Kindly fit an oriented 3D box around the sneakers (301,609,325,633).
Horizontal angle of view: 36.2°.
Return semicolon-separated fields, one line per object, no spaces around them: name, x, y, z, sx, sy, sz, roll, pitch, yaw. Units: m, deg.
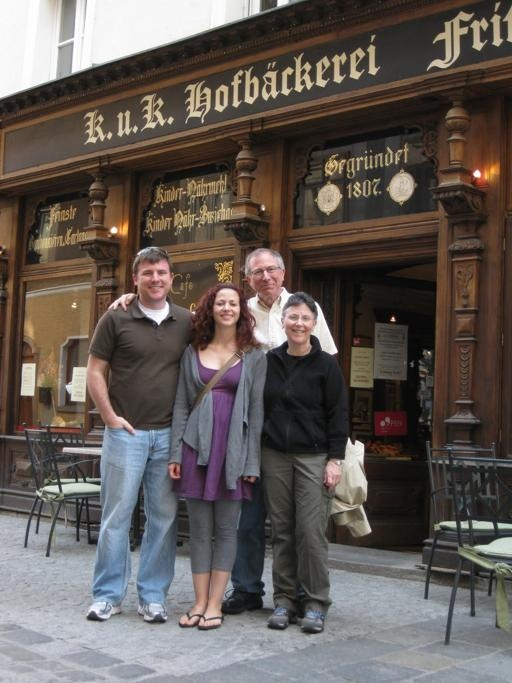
sneakers;0.277;1.370;3.840;0.109;0.096;0.185;2;-6;5

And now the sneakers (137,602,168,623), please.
sneakers;-0.519;1.361;3.946;0.142;0.078;0.196;3;-6;-9

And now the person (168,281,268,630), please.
person;-0.206;0.551;3.975;0.474;1.707;0.297;3;-6;0

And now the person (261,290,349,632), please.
person;0.232;0.692;4.032;0.403;1.474;0.277;-2;-8;40

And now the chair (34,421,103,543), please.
chair;-1.632;1.305;6.934;0.801;0.922;0.774;1;-4;-1

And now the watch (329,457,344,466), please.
watch;0.405;0.616;3.983;0.080;0.032;0.043;5;-7;-27

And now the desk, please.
desk;-1.314;1.403;7.195;1.164;0.999;1.162;14;-19;-38

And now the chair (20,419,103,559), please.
chair;-1.638;1.312;6.933;0.819;0.937;0.778;1;-4;2

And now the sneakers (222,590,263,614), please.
sneakers;-0.069;1.404;4.222;0.241;0.108;0.089;8;-11;-40

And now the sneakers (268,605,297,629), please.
sneakers;0.125;1.382;3.895;0.063;0.074;0.180;-4;-18;17

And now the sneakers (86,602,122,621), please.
sneakers;-0.777;1.358;3.970;0.148;0.081;0.217;2;-6;3
